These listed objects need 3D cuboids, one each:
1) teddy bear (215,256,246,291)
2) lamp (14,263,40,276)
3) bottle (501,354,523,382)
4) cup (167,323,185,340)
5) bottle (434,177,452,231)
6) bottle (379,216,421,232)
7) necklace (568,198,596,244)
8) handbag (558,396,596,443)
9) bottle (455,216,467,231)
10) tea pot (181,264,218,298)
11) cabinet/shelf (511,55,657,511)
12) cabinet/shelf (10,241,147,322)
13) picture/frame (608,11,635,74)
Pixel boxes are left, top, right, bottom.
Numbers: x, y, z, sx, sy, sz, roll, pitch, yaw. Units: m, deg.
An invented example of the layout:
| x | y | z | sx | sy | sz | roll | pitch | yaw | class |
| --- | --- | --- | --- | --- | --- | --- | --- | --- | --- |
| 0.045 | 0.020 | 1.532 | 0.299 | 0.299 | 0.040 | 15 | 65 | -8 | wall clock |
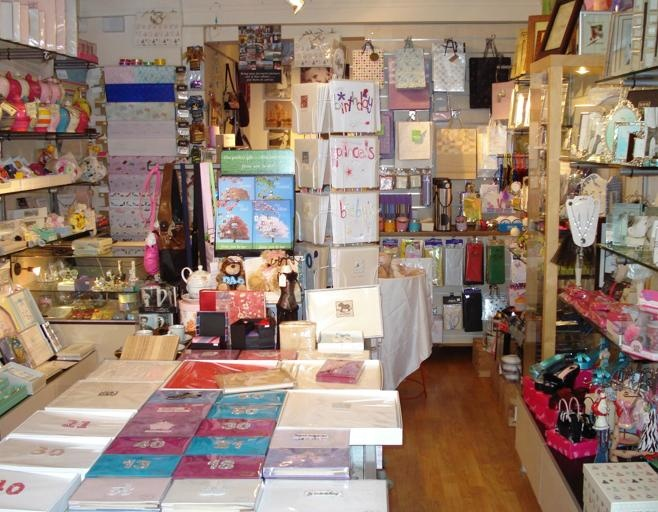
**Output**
| x | y | z | sx | sy | sz | roll | pitch | yaw | class |
| --- | --- | --- | --- | --- | --- | --- | --- | --- | --- |
| -0.741 | 0.146 | 3.932 | 0.253 | 0.289 | 0.167 | -1 | -1 | -12 | teddy bear |
| -2.657 | 0.119 | 4.450 | 0.172 | 0.112 | 0.101 | 5 | 7 | -34 | lamp |
| 1.740 | 1.073 | 4.829 | 0.190 | 0.224 | 0.214 | 0 | -4 | -20 | bottle |
| -1.021 | 0.514 | 3.449 | 0.131 | 0.112 | 0.105 | -4 | 10 | -9 | cup |
| 1.424 | -0.639 | 6.352 | 0.235 | 0.635 | 0.386 | 2 | 11 | 11 | bottle |
| 0.890 | -0.370 | 6.279 | 0.396 | 0.171 | 0.230 | 1 | 3 | -4 | bottle |
| 1.548 | -0.212 | 3.077 | 0.183 | 0.324 | 0.033 | 1 | 24 | 29 | necklace |
| 1.316 | 0.865 | 2.713 | 0.131 | 0.204 | 0.203 | -4 | 11 | -23 | handbag |
| 1.635 | -0.384 | 6.236 | 0.125 | 0.155 | 0.156 | -1 | -2 | 9 | bottle |
| -1.012 | 0.203 | 3.995 | 0.249 | 0.247 | 0.318 | -3 | 5 | -44 | tea pot |
| 1.516 | 0.016 | 3.434 | 0.447 | 2.637 | 1.153 | 4 | 11 | 21 | cabinet/shelf |
| -2.423 | 0.376 | 4.675 | 0.611 | 0.593 | 1.209 | -15 | -11 | 27 | cabinet/shelf |
| 1.474 | -1.068 | 2.553 | 0.054 | 0.313 | 0.286 | 3 | 11 | 17 | picture/frame |
